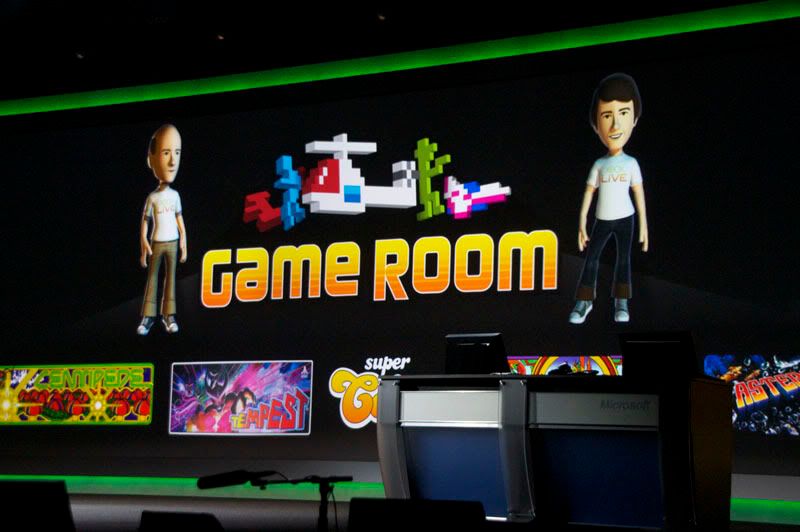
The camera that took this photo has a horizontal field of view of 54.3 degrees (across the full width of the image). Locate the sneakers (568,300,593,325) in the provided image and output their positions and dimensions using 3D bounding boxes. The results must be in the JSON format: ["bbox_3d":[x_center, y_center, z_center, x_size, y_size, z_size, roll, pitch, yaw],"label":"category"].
[{"bbox_3d":[1.680,0.425,7.276,0.121,0.302,0.126,32,-14,33],"label":"sneakers"}]

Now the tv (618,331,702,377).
[{"bbox_3d":[1.481,0.537,4.552,0.414,0.271,0.291,1,-30,3],"label":"tv"}]

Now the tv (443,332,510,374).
[{"bbox_3d":[0.414,0.485,4.798,0.311,0.252,0.282,-2,-51,-7],"label":"tv"}]

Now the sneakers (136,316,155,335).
[{"bbox_3d":[-2.723,0.632,8.356,0.151,0.216,0.103,20,-8,6],"label":"sneakers"}]
